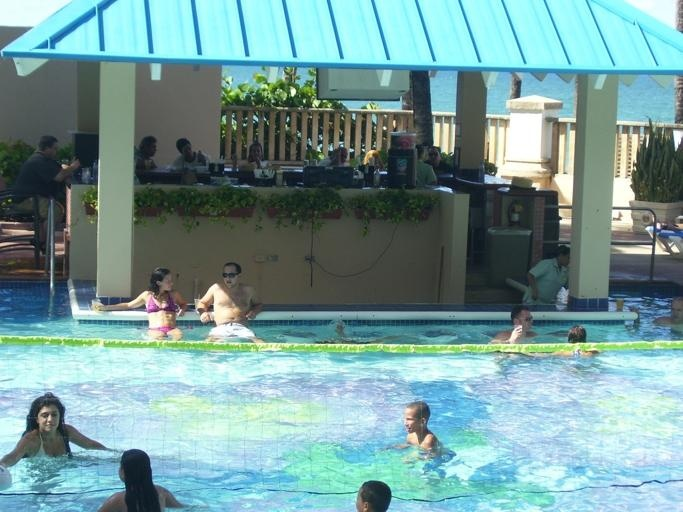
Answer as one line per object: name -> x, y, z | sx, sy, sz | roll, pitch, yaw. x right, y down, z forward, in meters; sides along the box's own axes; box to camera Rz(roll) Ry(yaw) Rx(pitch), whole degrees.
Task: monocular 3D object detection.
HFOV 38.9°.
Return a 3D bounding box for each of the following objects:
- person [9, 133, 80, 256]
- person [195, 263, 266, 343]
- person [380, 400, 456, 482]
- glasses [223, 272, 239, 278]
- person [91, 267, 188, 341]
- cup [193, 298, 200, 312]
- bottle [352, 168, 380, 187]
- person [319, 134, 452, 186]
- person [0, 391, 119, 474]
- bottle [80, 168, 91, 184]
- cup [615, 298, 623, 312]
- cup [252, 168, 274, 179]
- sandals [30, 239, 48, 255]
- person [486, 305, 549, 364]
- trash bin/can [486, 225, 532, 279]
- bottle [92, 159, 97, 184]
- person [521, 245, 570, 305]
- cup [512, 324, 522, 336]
person -> -5.112, -1.068, 16.541 | 0.995, 1.969, 1.286 | 0, 1, -20
person -> -1.533, 0.799, 13.652 | 0.965, 1.522, 0.890 | 0, -7, -24
person -> 0.931, 2.035, 11.165 | 0.734, 0.822, 0.772 | 0, 1, 15
glasses -> -1.575, 0.274, 13.668 | 0.218, 0.078, 0.119 | 0, 1, -7
person -> -2.592, 0.721, 13.497 | 0.871, 0.660, 1.147 | -3, 17, -26
cup -> -2.144, 0.721, 14.203 | 0.059, 0.199, 0.135 | -3, -5, 8
bottle -> 0.435, -1.282, 16.450 | 0.331, 0.253, 0.362 | 2, 8, 0
person -> 1.123, -1.568, 16.734 | 1.274, 0.597, 1.456 | 2, 15, 2
person -> -3.159, 1.842, 10.381 | 1.004, 0.791, 0.655 | 0, 1, -22
bottle -> -4.126, -1.256, 15.536 | 0.110, 0.240, 0.323 | 0, 1, -10
cup -> 4.281, 0.762, 14.871 | 0.135, 0.255, 0.132 | 2, -4, 0
cup -> -1.333, -1.375, 16.542 | 0.297, 0.152, 0.250 | 1, 13, 2
sandals -> -5.153, -0.145, 16.285 | 0.231, 0.167, 0.357 | 1, 1, -3
person -> 2.532, 1.094, 13.784 | 0.676, 0.658, 1.198 | 1, 1, 23
trash bin/can -> 2.745, -0.051, 16.324 | 0.821, 1.125, 0.717 | -1, 4, -38
bottle -> -4.071, -1.327, 15.841 | 0.088, 0.355, 0.793 | 0, 1, -16
person -> 3.231, 0.307, 15.215 | 0.709, 0.896, 0.469 | 0, 1, 14
cup -> 2.490, 1.046, 13.563 | 0.113, 0.138, 0.227 | 1, 1, 34
